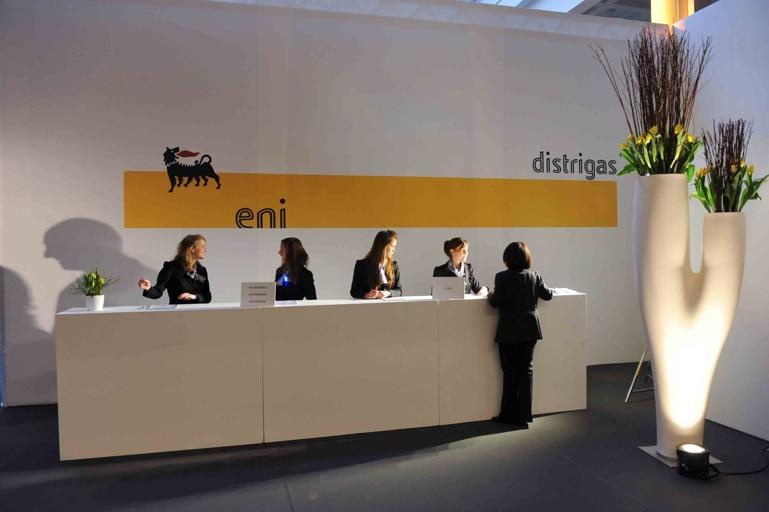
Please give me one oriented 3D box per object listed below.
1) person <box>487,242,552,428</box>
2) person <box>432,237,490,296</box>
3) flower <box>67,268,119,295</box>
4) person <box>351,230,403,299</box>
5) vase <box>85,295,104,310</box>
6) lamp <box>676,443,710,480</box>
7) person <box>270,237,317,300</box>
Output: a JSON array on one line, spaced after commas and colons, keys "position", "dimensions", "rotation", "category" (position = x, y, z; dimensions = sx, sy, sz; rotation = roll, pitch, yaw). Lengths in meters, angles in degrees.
[{"position": [1.452, 0.858, 6.644], "dimensions": [0.638, 1.992, 0.333], "rotation": [-1, 3, 4], "category": "person"}, {"position": [0.940, 0.098, 7.185], "dimensions": [0.684, 0.909, 0.600], "rotation": [1, -9, -29], "category": "person"}, {"position": [-3.083, 0.305, 6.354], "dimensions": [0.480, 0.361, 0.590], "rotation": [1, -6, -10], "category": "flower"}, {"position": [-0.104, 0.100, 6.903], "dimensions": [0.574, 0.770, 0.585], "rotation": [-1, 3, -5], "category": "person"}, {"position": [-2.931, 0.457, 6.116], "dimensions": [0.130, 0.125, 0.148], "rotation": [0, 5, -21], "category": "vase"}, {"position": [2.950, 1.957, 5.815], "dimensions": [0.213, 0.275, 0.284], "rotation": [-4, 7, -13], "category": "lamp"}, {"position": [-1.103, 0.158, 7.083], "dimensions": [0.341, 0.857, 0.574], "rotation": [4, -7, -42], "category": "person"}]
